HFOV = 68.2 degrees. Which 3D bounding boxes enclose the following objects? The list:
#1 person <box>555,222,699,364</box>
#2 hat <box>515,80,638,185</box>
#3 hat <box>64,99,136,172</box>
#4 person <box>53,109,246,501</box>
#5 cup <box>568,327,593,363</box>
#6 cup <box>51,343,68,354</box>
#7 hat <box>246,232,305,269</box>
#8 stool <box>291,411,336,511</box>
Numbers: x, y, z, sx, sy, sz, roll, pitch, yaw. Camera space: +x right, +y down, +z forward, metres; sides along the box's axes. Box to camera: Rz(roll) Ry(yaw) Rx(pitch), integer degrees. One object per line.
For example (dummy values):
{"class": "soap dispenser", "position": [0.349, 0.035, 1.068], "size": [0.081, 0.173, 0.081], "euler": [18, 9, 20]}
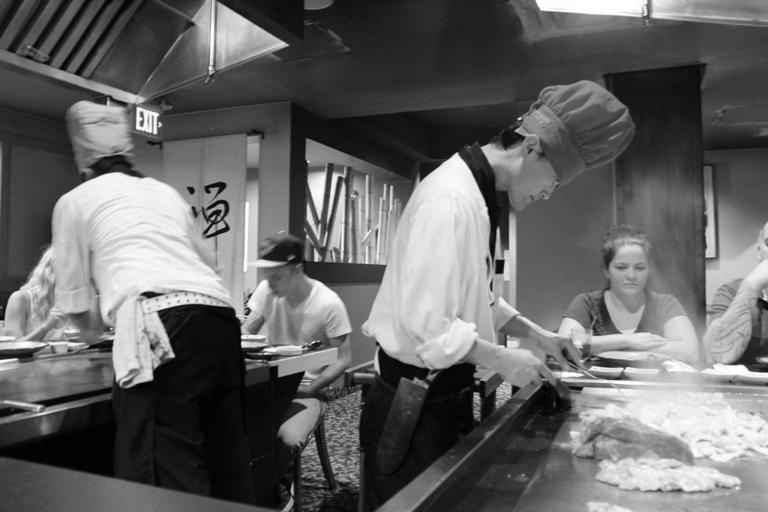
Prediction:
{"class": "person", "position": [1.680, 0.220, 3.783], "size": [0.747, 1.139, 0.650], "euler": [-2, -23, 20]}
{"class": "hat", "position": [0.736, -0.506, 2.262], "size": [0.449, 0.389, 0.237], "euler": [-19, 17, 0]}
{"class": "hat", "position": [-1.335, -0.587, 2.668], "size": [0.255, 0.292, 0.303], "euler": [-24, 11, -24]}
{"class": "person", "position": [-1.003, 0.440, 2.480], "size": [0.691, 1.578, 0.610], "euler": [6, 12, 28]}
{"class": "cup", "position": [0.956, 0.435, 2.753], "size": [0.121, 0.125, 0.222], "euler": [1, 18, 6]}
{"class": "cup", "position": [-1.620, 0.457, 2.801], "size": [0.052, 0.034, 0.062], "euler": [-1, -11, 0]}
{"class": "hat", "position": [-0.723, -0.046, 3.744], "size": [0.430, 0.232, 0.318], "euler": [-11, 3, -40]}
{"class": "stool", "position": [-0.422, 1.233, 3.425], "size": [0.400, 0.577, 0.413], "euler": [1, -7, -5]}
